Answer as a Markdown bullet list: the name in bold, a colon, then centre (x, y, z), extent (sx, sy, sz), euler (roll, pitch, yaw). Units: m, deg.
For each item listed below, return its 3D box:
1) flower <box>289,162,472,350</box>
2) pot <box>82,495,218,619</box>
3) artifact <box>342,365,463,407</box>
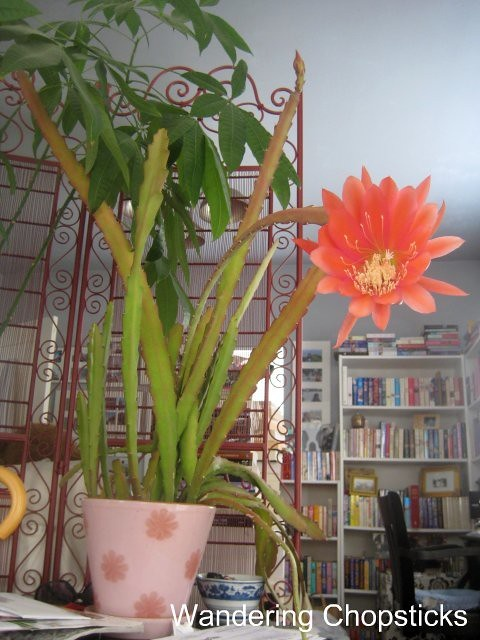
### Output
- **flower**: centre (0.118, -0.066, 0.426), extent (0.141, 0.088, 0.156), euler (4, 7, -5)
- **pot**: centre (-0.099, 0.246, 0.546), extent (0.144, 0.114, 0.141), euler (4, -17, 1)
- **artifact**: centre (1.358, 0.534, 4.372), extent (0.768, 0.314, 0.268), euler (0, -4, 11)
